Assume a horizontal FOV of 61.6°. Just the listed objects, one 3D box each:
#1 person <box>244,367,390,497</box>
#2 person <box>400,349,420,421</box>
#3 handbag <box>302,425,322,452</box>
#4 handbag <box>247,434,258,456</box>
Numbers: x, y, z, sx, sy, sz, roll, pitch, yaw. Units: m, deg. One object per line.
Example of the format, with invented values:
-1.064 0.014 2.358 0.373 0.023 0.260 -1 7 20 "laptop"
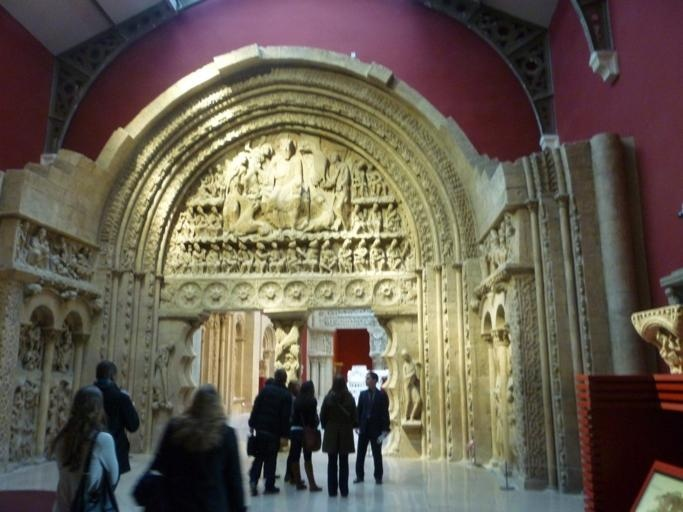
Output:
-0.493 2.492 8.136 1.437 1.750 0.874 -1 -4 2 "person"
1.366 2.520 11.218 0.381 1.326 0.291 -1 -4 12 "person"
-0.424 2.476 7.814 0.157 0.391 0.366 -12 -20 31 "handbag"
-1.254 2.638 7.983 0.125 0.302 0.210 0 -5 -13 "handbag"
